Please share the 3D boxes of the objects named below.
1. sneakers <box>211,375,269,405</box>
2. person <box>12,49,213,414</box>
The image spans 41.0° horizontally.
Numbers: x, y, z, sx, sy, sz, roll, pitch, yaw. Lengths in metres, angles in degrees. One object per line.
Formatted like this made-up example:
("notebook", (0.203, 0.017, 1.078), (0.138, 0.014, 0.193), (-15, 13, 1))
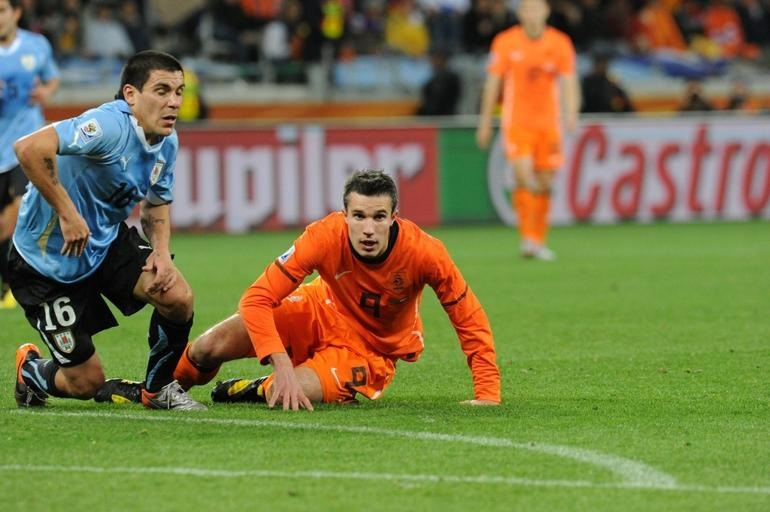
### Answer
("sneakers", (-0.885, 0.822, 6.300), (0.396, 0.164, 0.156), (-4, -5, 18))
("person", (-1.651, -0.130, 6.061), (1.038, 2.101, 0.527), (-4, 11, -18))
